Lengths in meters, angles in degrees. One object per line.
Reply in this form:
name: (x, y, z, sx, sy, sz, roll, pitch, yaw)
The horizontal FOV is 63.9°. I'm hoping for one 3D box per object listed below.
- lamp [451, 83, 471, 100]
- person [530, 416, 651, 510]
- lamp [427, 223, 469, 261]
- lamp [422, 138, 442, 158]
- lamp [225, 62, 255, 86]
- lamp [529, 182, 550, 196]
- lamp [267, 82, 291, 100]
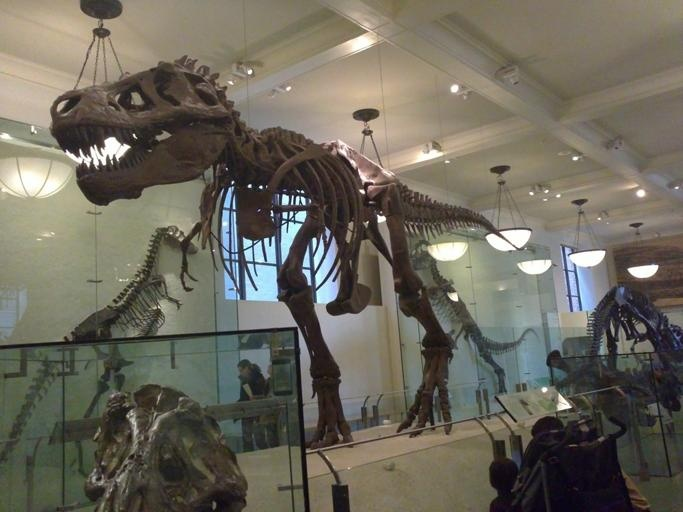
lamp: (1.318, -1.833, 6.030, 0.159, 0.043, 0.158, 29, -23, -23)
person: (1.584, 1.352, 3.543, 0.187, 0.702, 0.208, -16, -25, -22)
lamp: (1.554, -0.192, 8.123, 0.545, 0.563, 0.929, -4, -9, 10)
lamp: (1.273, -1.493, 7.608, 0.286, 0.156, 0.453, -4, -9, 8)
lamp: (-0.962, -1.781, 5.315, 0.272, 0.139, 0.422, 0, -9, -16)
lamp: (3.493, -1.170, 9.606, 0.362, 0.127, 0.508, -6, -9, 19)
lamp: (-0.624, -1.723, 5.707, 0.142, 0.078, 0.207, -14, -3, 6)
